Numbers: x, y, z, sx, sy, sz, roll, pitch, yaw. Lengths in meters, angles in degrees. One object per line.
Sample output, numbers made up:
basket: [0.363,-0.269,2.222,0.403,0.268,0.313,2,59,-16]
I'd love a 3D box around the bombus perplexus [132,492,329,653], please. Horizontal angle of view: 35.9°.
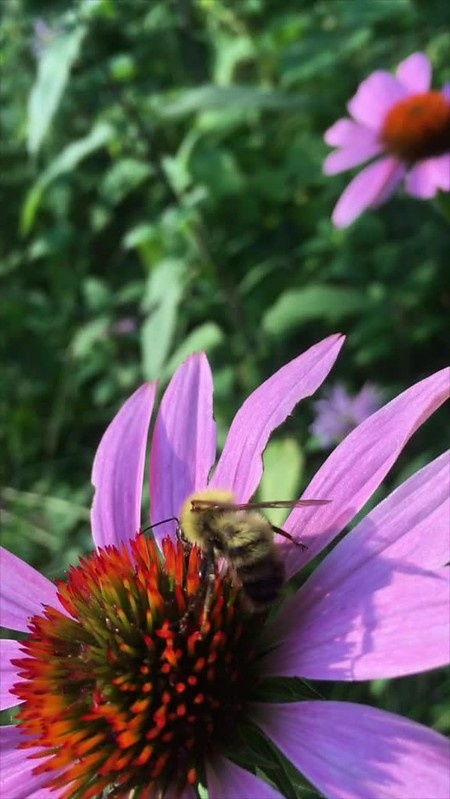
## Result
bombus perplexus: [-0.002,0.107,0.542,0.107,0.048,0.151,-45,30,-20]
